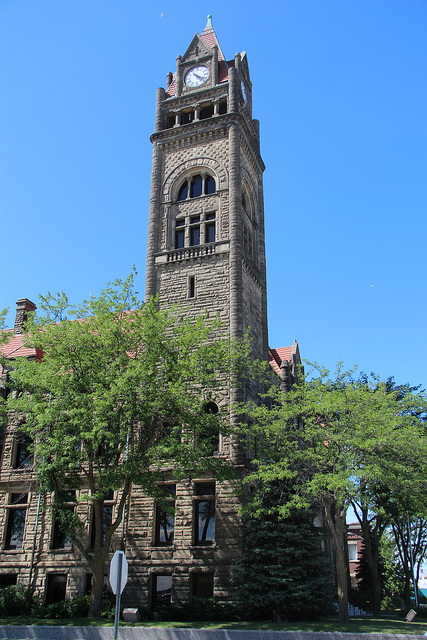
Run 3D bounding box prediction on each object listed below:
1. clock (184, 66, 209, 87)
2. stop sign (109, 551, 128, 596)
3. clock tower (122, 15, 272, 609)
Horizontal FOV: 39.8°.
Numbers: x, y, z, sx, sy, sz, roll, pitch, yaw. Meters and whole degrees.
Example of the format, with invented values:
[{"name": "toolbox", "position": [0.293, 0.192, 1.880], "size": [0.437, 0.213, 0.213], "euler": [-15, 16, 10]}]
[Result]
[{"name": "clock", "position": [-1.052, -15.635, 38.080], "size": [2.144, 2.079, 0.153], "euler": [9, -30, 14]}, {"name": "stop sign", "position": [-1.782, 4.740, 11.012], "size": [0.414, 0.861, 0.063], "euler": [23, -36, -37]}, {"name": "clock tower", "position": [-0.564, -4.691, 32.679], "size": [6.904, 37.048, 6.581], "euler": [4, -21, -4]}]
